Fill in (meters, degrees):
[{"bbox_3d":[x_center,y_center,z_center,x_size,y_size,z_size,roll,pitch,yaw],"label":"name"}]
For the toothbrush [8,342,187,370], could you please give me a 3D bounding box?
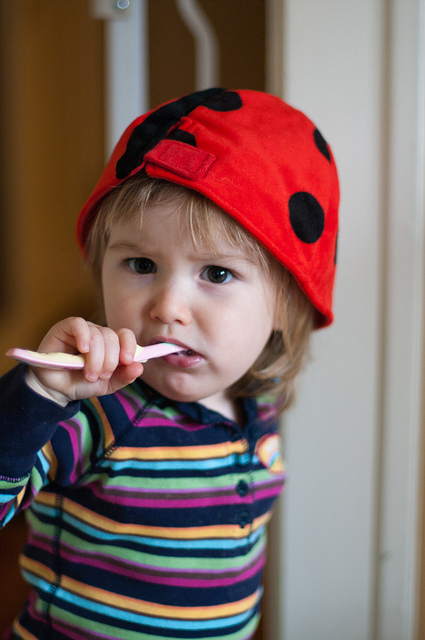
[{"bbox_3d":[-0.127,0.042,0.787,0.213,0.021,0.028,4,39,-46],"label":"toothbrush"}]
